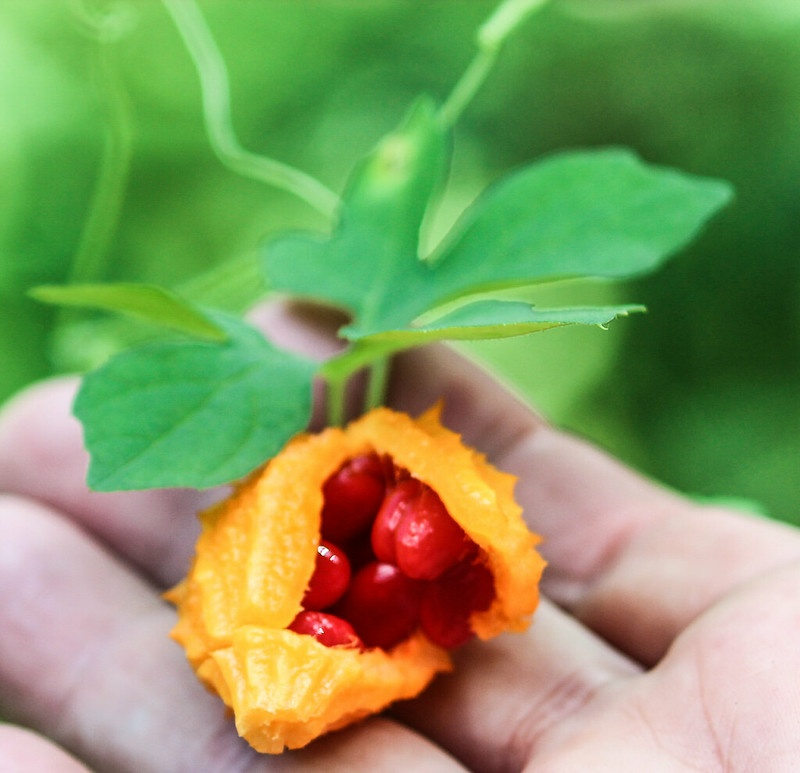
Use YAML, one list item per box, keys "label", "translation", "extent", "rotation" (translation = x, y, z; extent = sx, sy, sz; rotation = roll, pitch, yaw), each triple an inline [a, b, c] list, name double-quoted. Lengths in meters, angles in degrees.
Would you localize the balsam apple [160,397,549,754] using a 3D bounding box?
- label: "balsam apple"
  translation: [-0.036, 0.115, 0.567]
  extent: [0.198, 0.101, 0.250]
  rotation: [32, 39, 21]
